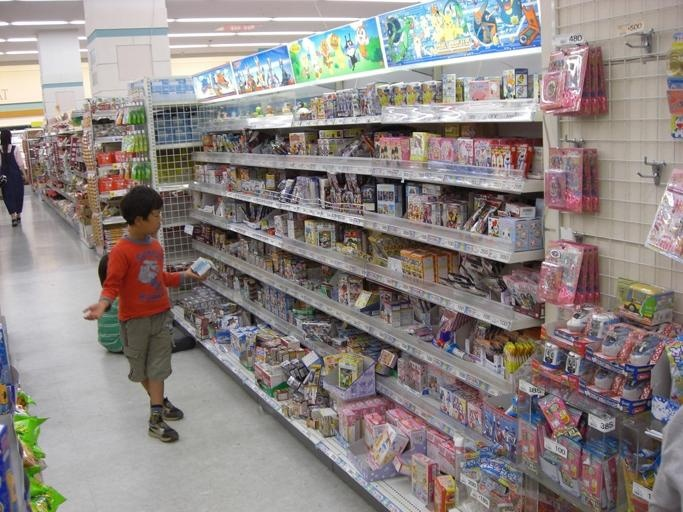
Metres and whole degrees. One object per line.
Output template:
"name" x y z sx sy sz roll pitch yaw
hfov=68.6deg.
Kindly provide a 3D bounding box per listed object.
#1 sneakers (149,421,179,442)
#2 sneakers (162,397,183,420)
"sneakers" -1.446 1.437 4.158 0.277 0.115 0.110 10 15 34
"sneakers" -1.512 1.344 4.427 0.254 0.118 0.093 12 8 38
